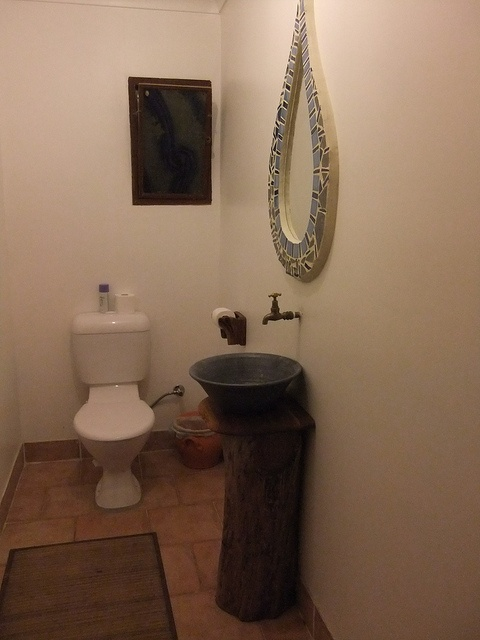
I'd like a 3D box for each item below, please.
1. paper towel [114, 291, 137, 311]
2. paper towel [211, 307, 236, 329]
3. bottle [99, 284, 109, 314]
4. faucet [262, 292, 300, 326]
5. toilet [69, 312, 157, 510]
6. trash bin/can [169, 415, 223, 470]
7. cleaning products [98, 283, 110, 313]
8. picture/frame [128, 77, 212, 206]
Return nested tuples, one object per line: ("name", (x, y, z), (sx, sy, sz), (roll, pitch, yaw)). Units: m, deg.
("paper towel", (-0.592, -0.100, 2.706), (0.068, 0.102, 0.085), (1, 7, -14))
("paper towel", (-0.065, -0.038, 2.193), (0.094, 0.127, 0.053), (-16, 21, -40))
("bottle", (-0.699, -0.112, 2.717), (0.054, 0.143, 0.076), (-2, 8, -18))
("faucet", (0.133, -0.043, 1.716), (0.124, 0.095, 0.109), (0, 9, -5))
("toilet", (-0.591, 0.397, 2.512), (0.377, 0.796, 0.703), (-2, 9, -20))
("trash bin/can", (-0.219, 0.629, 2.808), (0.207, 0.263, 0.288), (-4, 18, -2))
("cleaning products", (-0.699, -0.112, 2.717), (0.054, 0.143, 0.076), (-2, 8, -18))
("picture/frame", (-0.331, -0.880, 2.692), (0.389, 0.796, 0.065), (0, -25, -7))
